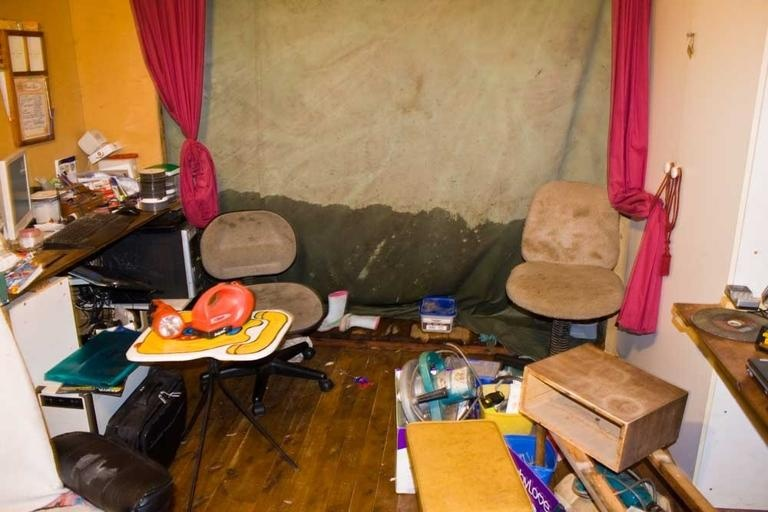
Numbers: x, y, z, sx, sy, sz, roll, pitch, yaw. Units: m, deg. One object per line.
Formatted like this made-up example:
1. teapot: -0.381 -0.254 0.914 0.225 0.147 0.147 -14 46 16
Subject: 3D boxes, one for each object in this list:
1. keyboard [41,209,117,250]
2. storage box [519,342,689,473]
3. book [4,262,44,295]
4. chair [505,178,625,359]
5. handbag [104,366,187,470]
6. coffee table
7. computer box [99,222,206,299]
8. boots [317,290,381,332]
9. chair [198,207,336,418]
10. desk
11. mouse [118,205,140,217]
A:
1. keyboard: -1.889 -0.162 3.688 0.278 0.084 0.550 -3 20 -4
2. storage box: 1.130 0.764 3.084 0.554 0.299 0.645 -10 23 -28
3. book: -1.925 0.143 3.162 0.159 0.038 0.156 19 37 22
4. chair: 1.245 0.189 3.967 0.689 1.255 1.009 7 22 22
5. handbag: -1.339 0.904 3.267 0.229 0.446 0.451 10 36 8
6. coffee table: -0.882 0.813 3.354 0.768 1.043 0.752 3 21 11
7. computer box: -1.695 0.025 4.350 0.726 0.522 0.704 3 19 14
8. boots: -0.194 0.447 4.624 0.639 0.285 0.210 3 8 7
9. chair: -0.801 0.321 4.037 0.876 1.140 0.899 -12 25 -39
10. desk: -1.684 0.392 3.362 0.651 1.121 1.168 8 32 3
11. mouse: -1.739 -0.309 4.031 0.083 0.039 0.113 4 8 -10
